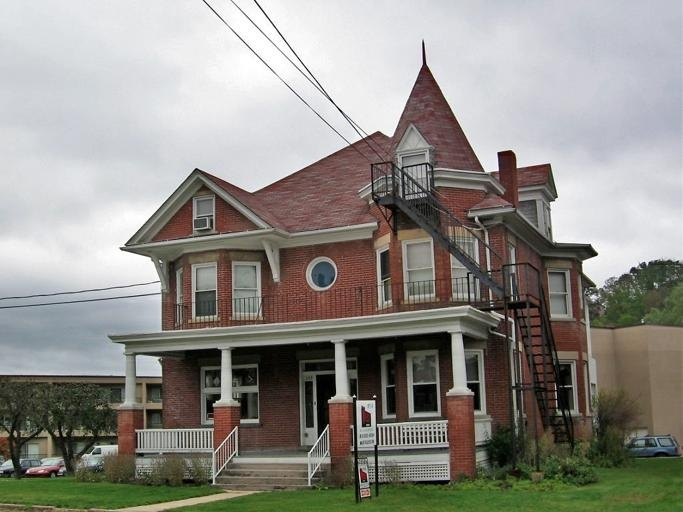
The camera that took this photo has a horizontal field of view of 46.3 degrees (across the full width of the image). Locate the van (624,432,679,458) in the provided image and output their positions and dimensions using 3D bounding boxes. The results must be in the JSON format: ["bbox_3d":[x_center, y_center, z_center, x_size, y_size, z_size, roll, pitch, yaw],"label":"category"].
[{"bbox_3d":[15.852,9.513,40.219,2.146,1.056,1.733,12,-20,-40],"label":"van"}]

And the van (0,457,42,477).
[{"bbox_3d":[-21.526,14.101,53.850,1.589,1.400,2.807,-14,-19,43],"label":"van"}]

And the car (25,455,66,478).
[{"bbox_3d":[-19.055,13.544,51.369,2.162,1.154,3.036,5,-17,-22],"label":"car"}]
